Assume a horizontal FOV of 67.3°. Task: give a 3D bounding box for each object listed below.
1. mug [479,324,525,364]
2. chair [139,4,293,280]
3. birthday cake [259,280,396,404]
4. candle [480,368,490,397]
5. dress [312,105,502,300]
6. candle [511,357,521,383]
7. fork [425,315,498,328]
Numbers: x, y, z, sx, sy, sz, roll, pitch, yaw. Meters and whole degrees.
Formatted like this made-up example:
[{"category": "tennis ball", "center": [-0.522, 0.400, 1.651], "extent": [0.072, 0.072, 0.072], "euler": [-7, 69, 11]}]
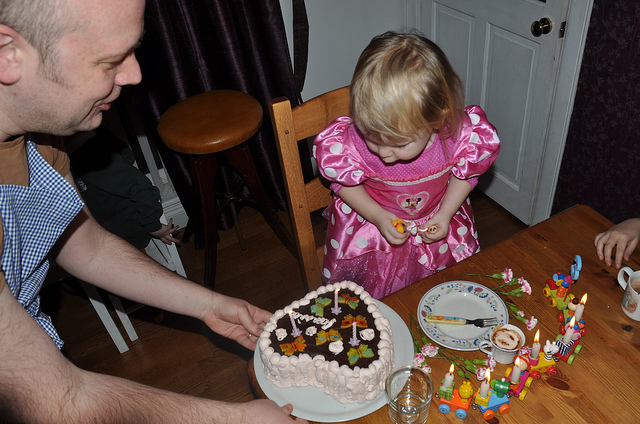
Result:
[{"category": "mug", "center": [0.599, 0.415, 1.593], "extent": [0.151, 0.139, 0.111], "euler": [-2, 32, 7]}, {"category": "chair", "center": [-0.625, -0.457, 2.896], "extent": [0.591, 1.531, 0.708], "euler": [-14, 56, -12]}, {"category": "birthday cake", "center": [0.029, 0.412, 1.621], "extent": [0.436, 0.111, 0.402], "euler": [7, 48, 14]}, {"category": "candle", "center": [0.505, 0.525, 1.457], "extent": [0.025, 0.054, 0.064], "euler": [18, 50, 24]}, {"category": "dress", "center": [0.371, 0.003, 2.252], "extent": [0.723, 0.924, 0.552], "euler": [-10, 32, -6]}, {"category": "candle", "center": [0.603, 0.487, 1.471], "extent": [0.024, 0.055, 0.054], "euler": [17, 49, 24]}, {"category": "fork", "center": [0.482, 0.377, 1.632], "extent": [0.187, 0.024, 0.030], "euler": [1, 42, 12]}]
